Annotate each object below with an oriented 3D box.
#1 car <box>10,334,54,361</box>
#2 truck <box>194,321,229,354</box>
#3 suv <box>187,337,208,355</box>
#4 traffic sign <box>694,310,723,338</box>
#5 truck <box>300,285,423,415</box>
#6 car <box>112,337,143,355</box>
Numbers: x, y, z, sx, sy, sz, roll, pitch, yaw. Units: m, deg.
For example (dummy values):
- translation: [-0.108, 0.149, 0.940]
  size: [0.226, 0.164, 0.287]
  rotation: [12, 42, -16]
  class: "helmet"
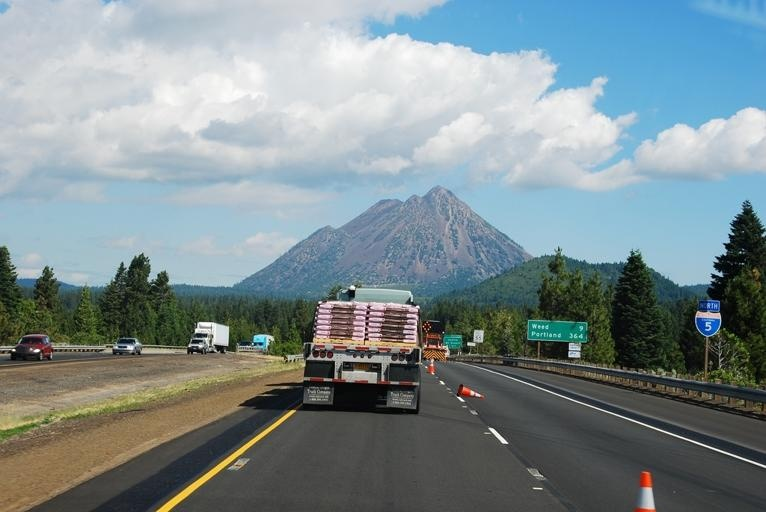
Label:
- translation: [-31.144, 8.070, 56.574]
  size: [2.526, 2.275, 3.217]
  rotation: [2, -10, -13]
  class: "car"
- translation: [-26.311, 12.385, 96.250]
  size: [2.644, 4.823, 9.402]
  rotation: [-3, -13, 14]
  class: "truck"
- translation: [-26.637, 12.744, 91.303]
  size: [1.787, 2.346, 3.916]
  rotation: [-2, -10, 14]
  class: "suv"
- translation: [17.748, 3.662, 34.987]
  size: [1.095, 1.417, 1.375]
  rotation: [-4, -9, 23]
  class: "traffic sign"
- translation: [-0.779, 3.569, 24.903]
  size: [4.380, 4.843, 5.230]
  rotation: [0, -9, 0]
  class: "truck"
- translation: [-32.465, 11.313, 80.406]
  size: [2.420, 2.105, 3.723]
  rotation: [1, -10, -8]
  class: "car"
